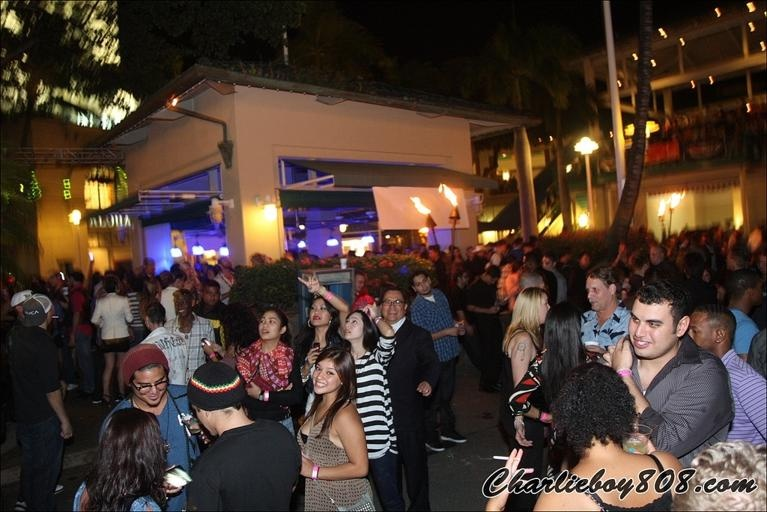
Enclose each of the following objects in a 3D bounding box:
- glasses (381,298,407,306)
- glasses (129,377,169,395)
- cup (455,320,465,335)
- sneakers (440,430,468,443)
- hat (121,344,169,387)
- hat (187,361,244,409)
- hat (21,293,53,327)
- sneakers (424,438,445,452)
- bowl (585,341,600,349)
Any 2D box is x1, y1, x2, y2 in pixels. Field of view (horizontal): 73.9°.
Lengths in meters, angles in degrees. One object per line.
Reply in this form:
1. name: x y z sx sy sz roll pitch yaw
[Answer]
1. glasses: 0.102 0.596 6.750 0.292 0.082 0.182 -2 -1 8
2. glasses: -2.294 1.265 5.008 0.309 0.144 0.137 -1 -1 -30
3. cup: 1.271 1.208 8.613 0.162 0.193 0.288 23 4 4
4. sneakers: 1.098 2.863 8.078 0.432 0.176 0.160 0 -2 6
5. hat: -2.374 1.041 5.082 0.378 0.310 0.374 -6 -5 -19
6. hat: -1.364 1.069 4.148 0.379 0.272 0.373 -15 22 -34
7. hat: -4.453 0.672 6.457 0.321 0.259 0.462 1 35 -23
8. sneakers: 0.824 2.909 7.873 0.337 0.176 0.210 -1 -1 -35
9. bowl: 2.231 0.944 5.414 0.138 0.064 0.140 -2 -2 0
